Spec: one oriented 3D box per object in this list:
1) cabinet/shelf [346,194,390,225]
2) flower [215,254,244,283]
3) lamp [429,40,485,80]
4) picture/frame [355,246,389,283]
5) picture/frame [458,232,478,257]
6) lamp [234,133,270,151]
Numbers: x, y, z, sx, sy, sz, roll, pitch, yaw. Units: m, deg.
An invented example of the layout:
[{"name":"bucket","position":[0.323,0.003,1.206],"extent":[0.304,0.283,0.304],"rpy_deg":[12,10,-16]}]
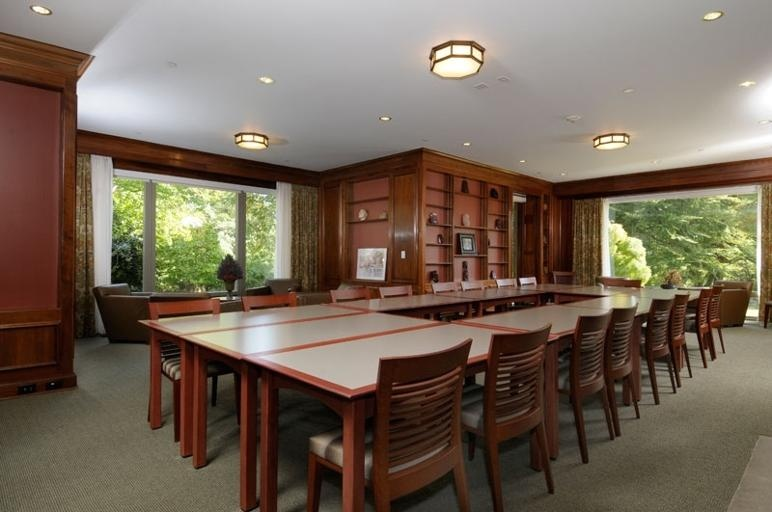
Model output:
[{"name":"cabinet/shelf","position":[-0.345,-0.874,9.916],"extent":[1.103,0.319,0.187],"rpy_deg":[-1,1,44]},{"name":"flower","position":[-2.655,0.229,8.603],"extent":[0.425,0.508,0.429],"rpy_deg":[-8,-8,36]},{"name":"lamp","position":[0.785,-2.089,5.436],"extent":[0.398,0.098,0.397],"rpy_deg":[-5,8,-28]},{"name":"picture/frame","position":[-0.253,0.171,9.757],"extent":[0.026,0.581,0.687],"rpy_deg":[15,-10,-40]},{"name":"picture/frame","position":[1.593,-0.216,10.014],"extent":[0.048,0.407,0.470],"rpy_deg":[-7,-6,42]},{"name":"lamp","position":[-2.106,-1.800,7.979],"extent":[0.457,0.194,0.369],"rpy_deg":[-1,1,-1]}]
